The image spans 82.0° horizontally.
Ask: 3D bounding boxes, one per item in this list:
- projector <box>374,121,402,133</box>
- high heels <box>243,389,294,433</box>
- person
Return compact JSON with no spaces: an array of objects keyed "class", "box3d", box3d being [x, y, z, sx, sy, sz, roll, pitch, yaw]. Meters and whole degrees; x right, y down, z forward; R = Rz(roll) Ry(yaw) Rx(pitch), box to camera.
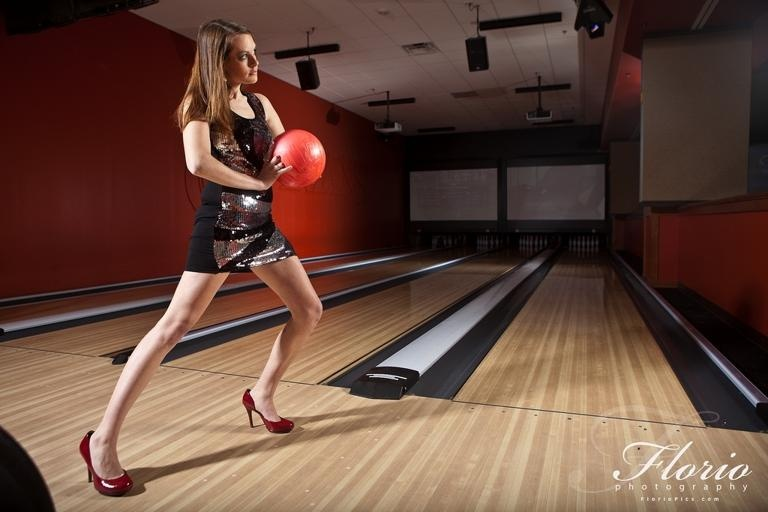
[{"class":"projector","box3d":[0.033,-2.506,8.663,0.413,0.142,0.452,1,3,21]},{"class":"high heels","box3d":[-0.409,0.600,1.737,0.239,0.177,0.105,3,3,-4]},{"class":"person","box3d":[-0.583,-0.038,1.517,0.784,1.520,0.348,-2,7,-36]}]
